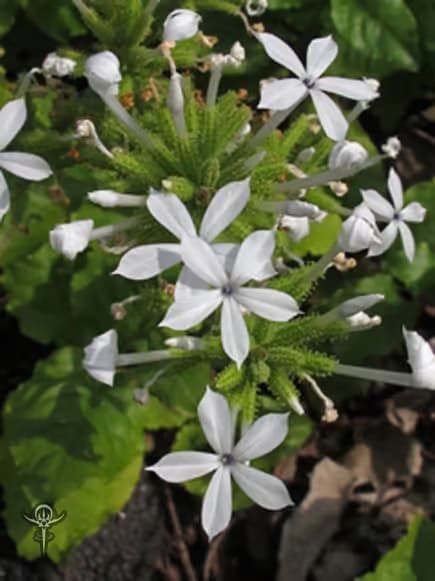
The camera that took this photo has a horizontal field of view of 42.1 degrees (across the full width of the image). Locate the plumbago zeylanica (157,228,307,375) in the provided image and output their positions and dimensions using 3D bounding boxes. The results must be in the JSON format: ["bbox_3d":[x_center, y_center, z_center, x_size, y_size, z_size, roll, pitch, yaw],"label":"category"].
[{"bbox_3d":[0.048,0.013,1.479,0.337,0.184,0.341,10,60,1],"label":"plumbago zeylanica"}]

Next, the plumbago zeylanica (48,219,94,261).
[{"bbox_3d":[-0.412,-0.153,1.600,0.089,0.121,0.136,10,61,1],"label":"plumbago zeylanica"}]

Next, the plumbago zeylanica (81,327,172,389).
[{"bbox_3d":[-0.278,0.205,1.705,0.227,0.245,0.151,-31,69,-19],"label":"plumbago zeylanica"}]

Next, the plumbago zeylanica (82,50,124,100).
[{"bbox_3d":[-0.331,-0.609,1.640,0.094,0.158,0.113,-9,63,-9],"label":"plumbago zeylanica"}]

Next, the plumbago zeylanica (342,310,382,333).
[{"bbox_3d":[0.457,0.099,1.767,0.078,0.097,0.039,-24,78,15],"label":"plumbago zeylanica"}]

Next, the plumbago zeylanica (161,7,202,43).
[{"bbox_3d":[-0.106,-0.780,1.679,0.089,0.086,0.114,13,60,3],"label":"plumbago zeylanica"}]

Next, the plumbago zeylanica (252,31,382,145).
[{"bbox_3d":[0.280,-0.616,1.623,0.384,0.149,0.369,7,59,0],"label":"plumbago zeylanica"}]

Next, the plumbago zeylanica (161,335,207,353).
[{"bbox_3d":[-0.091,0.149,1.621,0.139,0.041,0.036,8,68,-46],"label":"plumbago zeylanica"}]

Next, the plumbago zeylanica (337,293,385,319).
[{"bbox_3d":[0.407,0.037,1.663,0.053,0.202,0.043,18,64,-40],"label":"plumbago zeylanica"}]
